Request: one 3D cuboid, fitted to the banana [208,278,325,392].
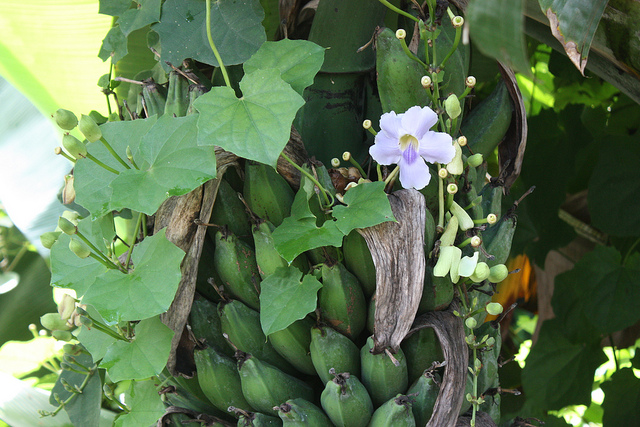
[{"bbox_3d":[-0.113,0.264,1.426,0.131,0.317,0.076,-56,11,6],"label":"banana"}]

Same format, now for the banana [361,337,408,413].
[{"bbox_3d":[0.148,0.334,1.429,0.092,0.069,0.251,-35,-33,-19],"label":"banana"}]

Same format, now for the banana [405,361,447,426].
[{"bbox_3d":[0.228,0.386,1.391,0.050,0.177,0.059,20,9,8],"label":"banana"}]

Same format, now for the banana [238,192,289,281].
[{"bbox_3d":[-0.123,0.040,1.417,0.083,0.196,0.070,-15,-9,17],"label":"banana"}]

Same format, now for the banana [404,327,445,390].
[{"bbox_3d":[0.221,0.316,1.465,0.056,0.099,0.177,-6,21,-8],"label":"banana"}]

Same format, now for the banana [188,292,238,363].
[{"bbox_3d":[-0.241,0.256,1.461,0.046,0.150,0.048,-35,5,43],"label":"banana"}]

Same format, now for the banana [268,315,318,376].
[{"bbox_3d":[-0.058,0.283,1.442,0.080,0.130,0.038,-43,16,0],"label":"banana"}]

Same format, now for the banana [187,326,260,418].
[{"bbox_3d":[-0.239,0.388,1.465,0.057,0.179,0.066,-27,-18,-30],"label":"banana"}]

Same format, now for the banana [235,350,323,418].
[{"bbox_3d":[-0.095,0.373,1.427,0.050,0.165,0.059,-45,16,20],"label":"banana"}]

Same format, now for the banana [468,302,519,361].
[{"bbox_3d":[0.406,0.278,1.504,0.123,0.090,0.227,-17,-10,14],"label":"banana"}]

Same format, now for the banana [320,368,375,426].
[{"bbox_3d":[0.061,0.393,1.387,0.071,0.110,0.071,-16,44,16],"label":"banana"}]

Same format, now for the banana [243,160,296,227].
[{"bbox_3d":[-0.121,-0.037,1.477,0.102,0.193,0.069,-7,30,-10],"label":"banana"}]
